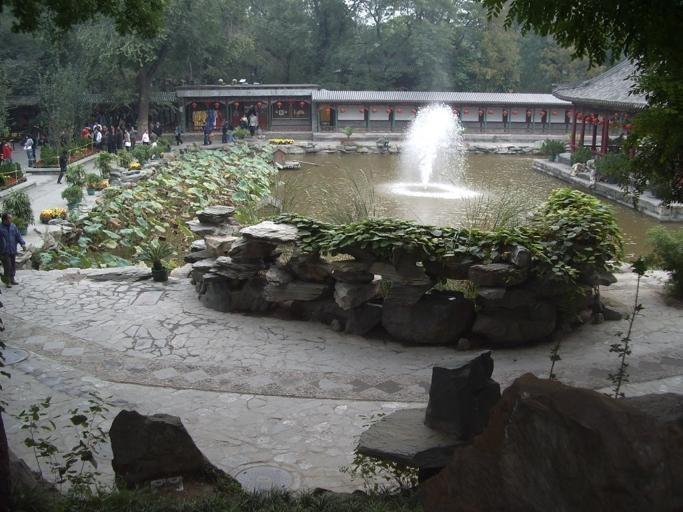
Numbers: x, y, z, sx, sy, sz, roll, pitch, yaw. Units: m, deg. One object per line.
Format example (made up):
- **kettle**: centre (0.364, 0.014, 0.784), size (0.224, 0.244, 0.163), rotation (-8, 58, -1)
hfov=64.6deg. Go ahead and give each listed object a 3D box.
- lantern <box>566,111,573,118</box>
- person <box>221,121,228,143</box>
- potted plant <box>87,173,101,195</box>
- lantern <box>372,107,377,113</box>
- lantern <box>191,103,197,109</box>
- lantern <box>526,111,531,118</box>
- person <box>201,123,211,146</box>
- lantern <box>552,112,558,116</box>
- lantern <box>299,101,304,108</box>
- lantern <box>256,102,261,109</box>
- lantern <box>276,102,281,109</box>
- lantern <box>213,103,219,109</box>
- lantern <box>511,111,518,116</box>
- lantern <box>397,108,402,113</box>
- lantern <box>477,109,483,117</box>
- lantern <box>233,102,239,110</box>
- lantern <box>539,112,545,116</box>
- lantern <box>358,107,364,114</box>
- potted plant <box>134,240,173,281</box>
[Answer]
- **lantern**: centre (15.504, -9.580, 36.873), size (0.492, 0.486, 0.174), rotation (-5, 11, -29)
- **person**: centre (-7.053, -7.371, 32.315), size (0.305, 1.264, 0.862), rotation (-2, 10, -8)
- **potted plant**: centre (-8.039, -2.305, 17.385), size (0.353, 0.664, 0.612), rotation (-2, 10, -10)
- **lantern**: centre (2.271, -10.055, 37.404), size (0.460, 0.253, 0.165), rotation (-2, 10, -13)
- **lantern**: centre (-10.129, -10.226, 37.032), size (0.334, 0.423, 0.256), rotation (-5, 11, -26)
- **lantern**: centre (12.878, -9.637, 36.923), size (0.446, 0.322, 0.520), rotation (-1, 1, 21)
- **person**: centre (-7.868, -7.028, 31.415), size (0.381, 1.284, 1.191), rotation (-2, 10, -13)
- **lantern**: centre (14.669, -9.705, 37.045), size (0.279, 0.197, 0.248), rotation (-3, 13, -12)
- **lantern**: centre (-2.760, -10.450, 37.648), size (0.366, 0.424, 0.408), rotation (-2, 10, -9)
- **lantern**: centre (-5.831, -10.481, 37.870), size (0.353, 0.435, 0.582), rotation (0, 9, -1)
- **lantern**: centre (-4.348, -10.430, 37.573), size (0.283, 0.424, 0.394), rotation (-1, 10, -8)
- **lantern**: centre (-8.670, -10.286, 37.327), size (0.368, 0.373, 0.261), rotation (-2, 10, -14)
- **lantern**: centre (11.994, -9.821, 37.394), size (0.480, 0.268, 0.103), rotation (-4, 10, -23)
- **lantern**: centre (3.935, -9.983, 37.213), size (0.319, 0.288, 0.363), rotation (6, 11, 34)
- **lantern**: centre (9.576, -9.738, 37.057), size (0.416, 0.543, 0.383), rotation (-1, 9, -3)
- **lantern**: centre (-7.453, -10.443, 37.890), size (0.409, 0.321, 0.384), rotation (13, -28, -38)
- **lantern**: centre (13.774, -9.651, 36.768), size (0.395, 0.262, 0.279), rotation (1, 9, 5)
- **lantern**: centre (1.341, -10.091, 37.479), size (0.464, 0.277, 0.417), rotation (1, 11, 2)
- **potted plant**: centre (-3.348, 0.111, 9.788), size (0.752, 0.653, 0.668), rotation (-9, 3, 23)
